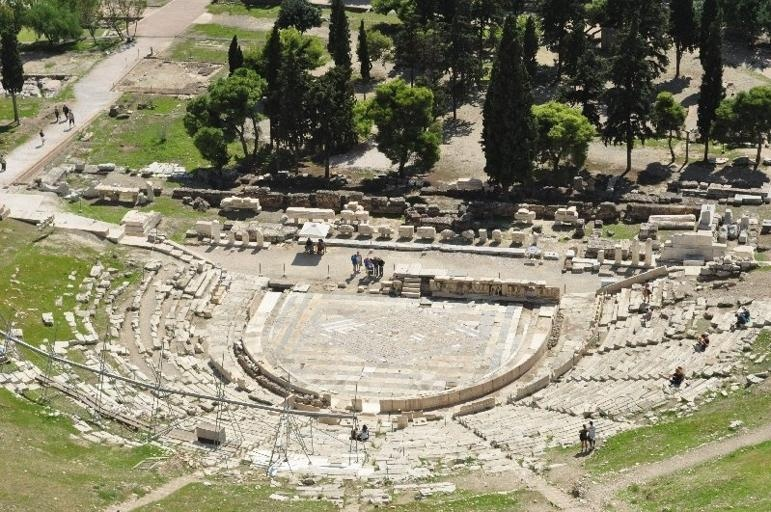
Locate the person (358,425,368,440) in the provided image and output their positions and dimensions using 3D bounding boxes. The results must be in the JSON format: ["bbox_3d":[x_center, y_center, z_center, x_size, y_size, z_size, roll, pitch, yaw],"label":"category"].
[{"bbox_3d":[-1.959,16.899,123.932,0.923,1.250,0.460,2,-21,39],"label":"person"}]

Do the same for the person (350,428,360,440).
[{"bbox_3d":[-2.894,16.784,123.790,0.937,0.984,0.966,1,16,-2],"label":"person"}]

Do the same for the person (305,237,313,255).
[{"bbox_3d":[-8.819,-1.293,151.316,0.978,1.813,0.851,1,16,-3],"label":"person"}]

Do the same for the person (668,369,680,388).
[{"bbox_3d":[28.033,11.505,124.475,1.210,1.623,1.169,8,17,19],"label":"person"}]
